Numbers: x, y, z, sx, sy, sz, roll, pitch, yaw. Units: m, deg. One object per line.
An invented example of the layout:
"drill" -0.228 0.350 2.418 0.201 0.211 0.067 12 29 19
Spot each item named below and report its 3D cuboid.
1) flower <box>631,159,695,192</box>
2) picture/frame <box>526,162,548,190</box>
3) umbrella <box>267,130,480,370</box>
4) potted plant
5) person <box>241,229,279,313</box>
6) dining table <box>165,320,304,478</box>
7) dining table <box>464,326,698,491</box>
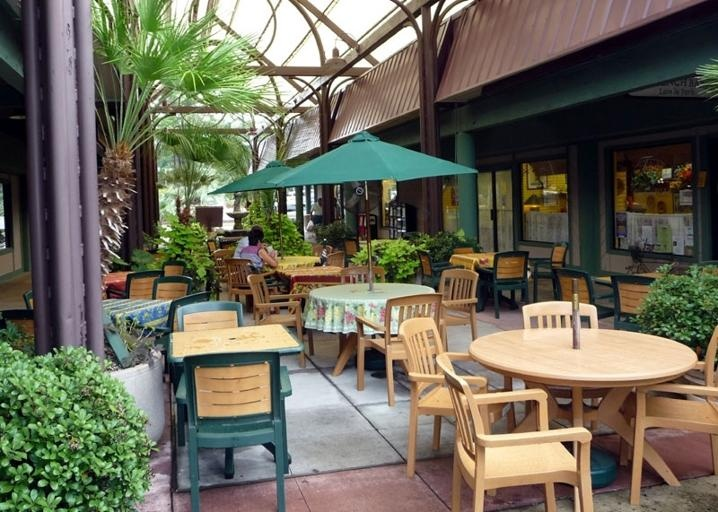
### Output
"flower" 5.511 -1.448 10.023 0.809 0.356 1.143 2 6 31
"picture/frame" 4.233 -1.889 13.208 0.035 0.683 0.760 -3 8 -27
"umbrella" 0.049 -0.421 6.642 2.290 1.368 1.940 -4 4 -14
"potted plant" -1.768 1.027 4.420 0.441 1.062 1.132 -2 4 -24
"person" -1.647 0.130 9.473 0.607 1.160 0.740 18 26 34
"dining table" -1.003 1.019 4.485 1.173 0.906 1.058 -1 15 -9
"dining table" 1.464 0.763 3.783 1.298 0.655 1.179 -3 5 -8
